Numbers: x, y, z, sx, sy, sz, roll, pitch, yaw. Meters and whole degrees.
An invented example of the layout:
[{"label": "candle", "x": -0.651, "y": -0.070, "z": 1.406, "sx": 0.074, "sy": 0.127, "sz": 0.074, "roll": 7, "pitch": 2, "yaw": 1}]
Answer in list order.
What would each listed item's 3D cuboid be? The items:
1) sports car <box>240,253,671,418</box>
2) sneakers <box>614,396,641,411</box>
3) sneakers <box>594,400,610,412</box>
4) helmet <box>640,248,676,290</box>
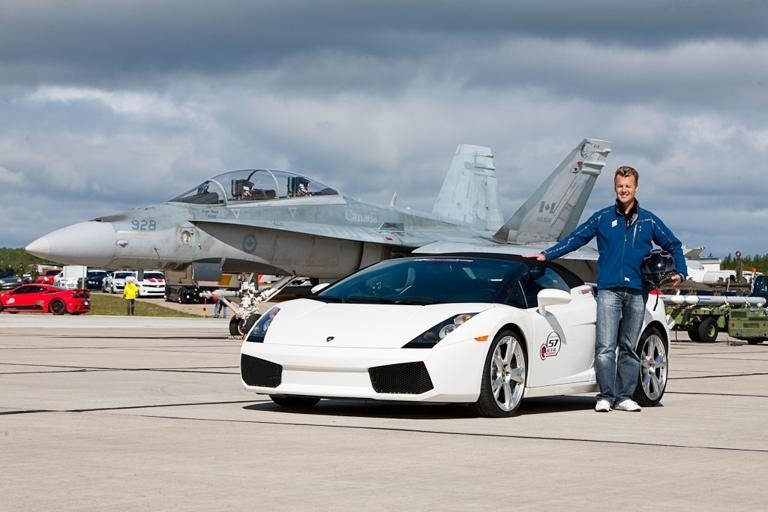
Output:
[{"label": "sports car", "x": 0.953, "y": 0.867, "z": 8.936, "sx": 2.329, "sy": 0.878, "sz": 3.391, "roll": -8, "pitch": -12, "yaw": 41}, {"label": "sneakers", "x": 2.619, "y": 1.612, "z": 9.076, "sx": 0.125, "sy": 0.088, "sz": 0.278, "roll": 2, "pitch": -9, "yaw": -13}, {"label": "sneakers", "x": 2.328, "y": 1.607, "z": 8.966, "sx": 0.107, "sy": 0.060, "sz": 0.172, "roll": -2, "pitch": 0, "yaw": 12}, {"label": "helmet", "x": 2.986, "y": 0.110, "z": 9.185, "sx": 0.369, "sy": 0.345, "sz": 0.449, "roll": -8, "pitch": 0, "yaw": 25}]
